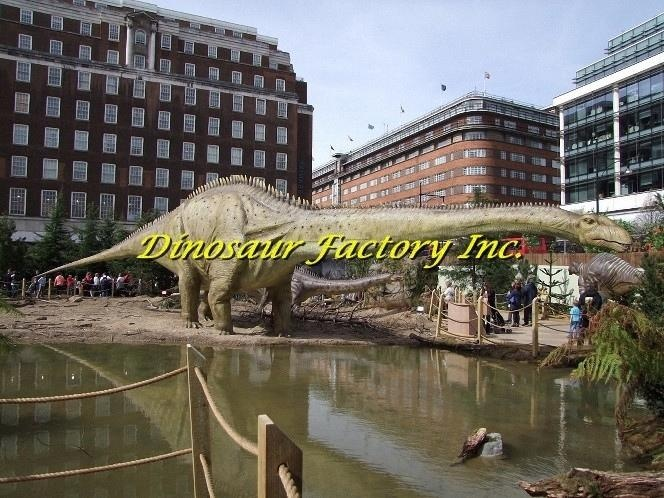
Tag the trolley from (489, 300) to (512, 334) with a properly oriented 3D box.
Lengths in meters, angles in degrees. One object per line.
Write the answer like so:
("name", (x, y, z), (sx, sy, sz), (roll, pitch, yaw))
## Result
("trolley", (6.129, 2.694, 22.782), (0.625, 0.885, 2.194), (-14, -27, 23))
